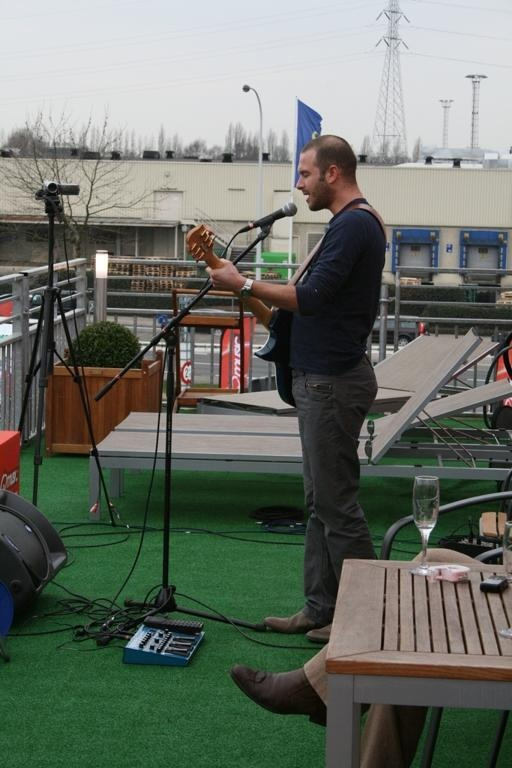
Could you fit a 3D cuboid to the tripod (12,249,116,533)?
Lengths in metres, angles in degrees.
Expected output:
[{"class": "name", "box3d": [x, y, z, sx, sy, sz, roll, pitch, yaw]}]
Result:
[{"class": "tripod", "box3d": [-1.143, -0.297, 4.237, 0.434, 0.491, 1.109, 7, 50, -24]}]

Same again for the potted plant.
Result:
[{"class": "potted plant", "box3d": [-1.218, -0.011, 6.541, 0.890, 1.199, 0.800, 2, 12, -4]}]

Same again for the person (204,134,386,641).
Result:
[{"class": "person", "box3d": [0.127, 0.049, 3.044, 0.825, 1.763, 0.628, 0, 2, 0]}]

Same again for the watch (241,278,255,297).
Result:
[{"class": "watch", "box3d": [-0.020, -0.329, 2.738, 0.038, 0.057, 0.064, 15, 57, 12]}]

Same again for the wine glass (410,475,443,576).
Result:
[{"class": "wine glass", "box3d": [0.415, 0.350, 1.920, 0.065, 0.231, 0.057, 6, -16, -5]}]
